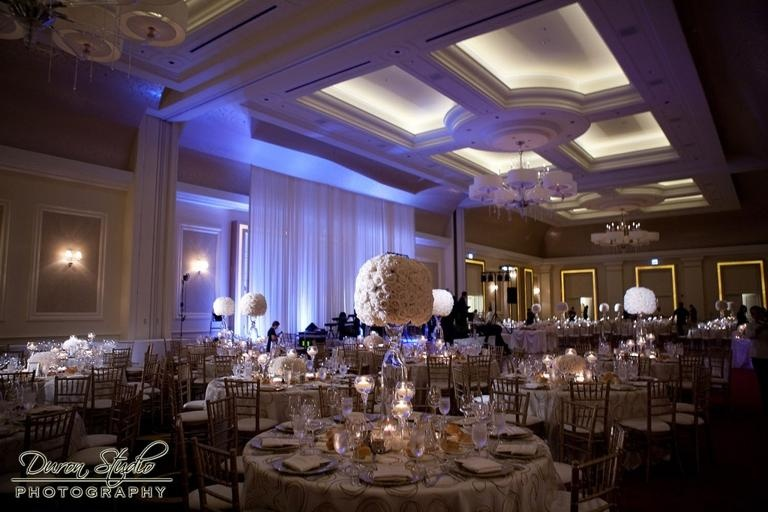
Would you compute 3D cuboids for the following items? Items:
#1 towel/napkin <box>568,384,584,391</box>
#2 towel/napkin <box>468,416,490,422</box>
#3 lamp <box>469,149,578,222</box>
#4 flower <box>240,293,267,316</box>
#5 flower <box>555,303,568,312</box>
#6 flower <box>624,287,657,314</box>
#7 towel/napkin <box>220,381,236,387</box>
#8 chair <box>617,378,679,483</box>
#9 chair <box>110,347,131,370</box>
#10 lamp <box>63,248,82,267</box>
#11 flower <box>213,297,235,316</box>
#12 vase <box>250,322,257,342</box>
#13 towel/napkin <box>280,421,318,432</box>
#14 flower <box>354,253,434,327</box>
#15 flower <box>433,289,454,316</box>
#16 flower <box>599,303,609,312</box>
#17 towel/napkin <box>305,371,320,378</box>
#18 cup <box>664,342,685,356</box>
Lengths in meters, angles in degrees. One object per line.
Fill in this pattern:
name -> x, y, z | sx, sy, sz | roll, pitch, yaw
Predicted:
towel/napkin -> 2.661, 1.810, 6.713 | 0.181, 0.049, 0.184 | -3, -6, 31
towel/napkin -> 0.979, 1.665, 4.970 | 0.149, 0.041, 0.158 | -3, -8, 20
lamp -> 3.334, -1.647, 11.784 | 2.155, 1.702, 2.438 | 0, -3, 32
flower -> -3.229, 1.206, 12.066 | 0.588, 0.708, 0.631 | -1, -6, 18
flower -> 7.701, 2.179, 21.006 | 0.368, 0.367, 1.074 | -5, -11, 25
flower -> 11.059, 1.852, 20.907 | 1.190, 1.159, 1.191 | -10, 10, 45
towel/napkin -> -2.181, 1.756, 6.757 | 0.228, 0.064, 0.244 | 5, -8, -31
chair -> 3.826, 2.397, 6.837 | 1.181, 1.290, 0.600 | 9, -13, -44
chair -> -5.149, 1.987, 9.427 | 0.309, 0.534, 0.340 | 1, -7, 11
lamp -> -7.060, -0.010, 11.103 | 0.449, 0.464, 0.337 | 3, 2, 5
flower -> -4.097, 1.242, 12.506 | 0.542, 0.598, 0.510 | 1, 2, 41
vase -> -3.779, 2.132, 13.932 | 0.216, 0.566, 0.627 | 3, -10, -17
towel/napkin -> -0.868, 1.753, 5.009 | 0.242, 0.044, 0.257 | 0, -10, 1
flower -> 0.168, 0.381, 5.660 | 0.770, 0.797, 0.807 | 0, -4, 14
flower -> 1.345, 1.047, 11.223 | 0.555, 0.594, 0.406 | 3, -10, -20
flower -> 10.342, 2.391, 22.717 | 0.547, 0.333, 0.572 | -12, -3, -5
towel/napkin -> -1.141, 1.863, 7.639 | 0.204, 0.074, 0.202 | 5, -5, -44
cup -> 5.736, 1.818, 9.529 | 0.336, 0.331, 0.408 | 0, -4, 19
